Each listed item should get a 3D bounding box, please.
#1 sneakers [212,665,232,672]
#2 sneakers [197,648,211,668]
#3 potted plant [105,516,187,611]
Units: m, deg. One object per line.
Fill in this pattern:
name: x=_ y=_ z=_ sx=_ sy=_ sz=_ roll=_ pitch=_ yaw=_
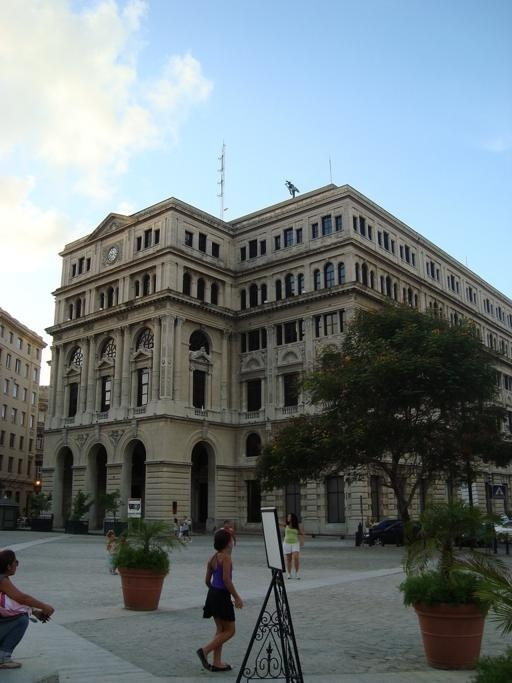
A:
sneakers: x=-0.394 y=3.728 z=6.728 sx=0.248 sy=0.079 sz=0.089 roll=4 pitch=-16 yaw=-14
sneakers: x=-0.584 y=3.584 z=6.656 sx=0.140 sy=0.271 sz=0.388 roll=0 pitch=-13 yaw=-3
potted plant: x=-2.092 y=4.183 z=10.950 sx=1.113 sy=1.655 sz=1.086 roll=9 pitch=-17 yaw=-35
